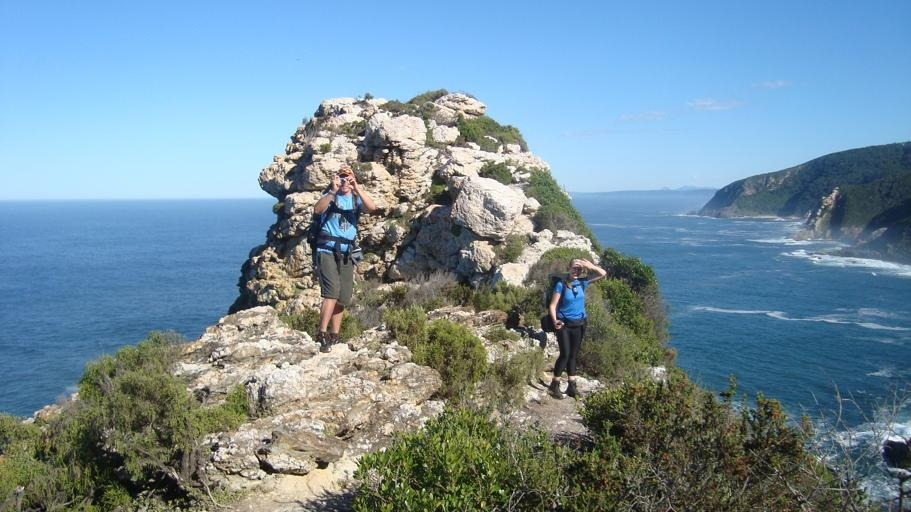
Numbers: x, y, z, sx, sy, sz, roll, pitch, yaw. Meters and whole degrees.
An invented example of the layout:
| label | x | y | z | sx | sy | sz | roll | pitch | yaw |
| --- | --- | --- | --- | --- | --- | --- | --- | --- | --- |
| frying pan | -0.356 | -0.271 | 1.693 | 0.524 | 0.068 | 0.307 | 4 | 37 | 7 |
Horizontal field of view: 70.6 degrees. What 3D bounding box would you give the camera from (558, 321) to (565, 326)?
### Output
| label | x | y | z | sx | sy | sz | roll | pitch | yaw |
| --- | --- | --- | --- | --- | --- | --- | --- | --- | --- |
| camera | 7.506 | 4.704 | 45.377 | 0.281 | 0.352 | 0.104 | 5 | -4 | 7 |
